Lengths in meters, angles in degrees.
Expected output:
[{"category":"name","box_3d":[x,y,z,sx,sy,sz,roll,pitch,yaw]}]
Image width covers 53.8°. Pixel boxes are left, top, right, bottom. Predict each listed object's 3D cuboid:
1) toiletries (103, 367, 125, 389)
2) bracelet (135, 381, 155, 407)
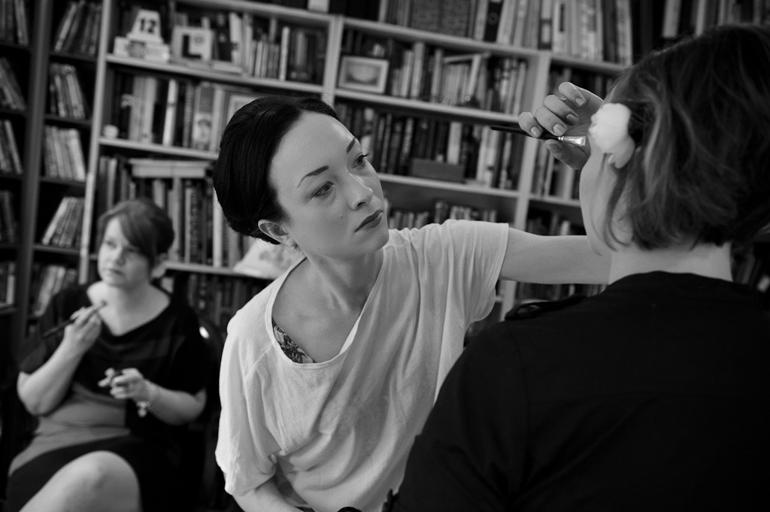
[{"category":"toiletries","box_3d":[-0.731,0.323,2.042,0.026,0.083,0.034,31,-19,-8]},{"category":"bracelet","box_3d":[-0.648,0.382,2.068,0.051,0.075,0.025,10,-1,35]}]
